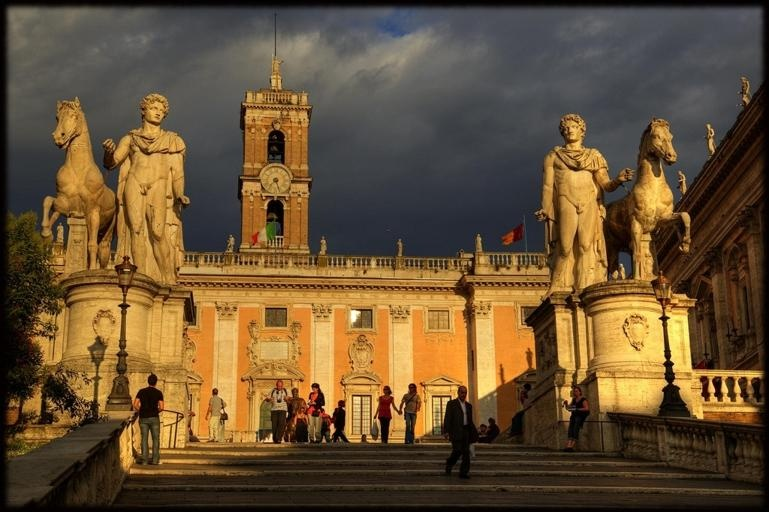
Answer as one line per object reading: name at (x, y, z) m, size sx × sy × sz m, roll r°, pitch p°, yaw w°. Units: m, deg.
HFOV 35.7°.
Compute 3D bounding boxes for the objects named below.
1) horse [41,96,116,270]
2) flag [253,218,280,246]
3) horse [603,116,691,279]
horse at (-7.469, -1.754, 29.882) m, size 1.724 × 4.345 × 1.196 m, roll 9°, pitch -16°, yaw -31°
flag at (-7.312, -1.437, 73.529) m, size 0.444 × 2.390 × 2.550 m, roll -8°, pitch 12°, yaw -44°
horse at (6.568, -1.253, 30.646) m, size 1.152 × 4.068 × 2.555 m, roll 8°, pitch -16°, yaw -27°
